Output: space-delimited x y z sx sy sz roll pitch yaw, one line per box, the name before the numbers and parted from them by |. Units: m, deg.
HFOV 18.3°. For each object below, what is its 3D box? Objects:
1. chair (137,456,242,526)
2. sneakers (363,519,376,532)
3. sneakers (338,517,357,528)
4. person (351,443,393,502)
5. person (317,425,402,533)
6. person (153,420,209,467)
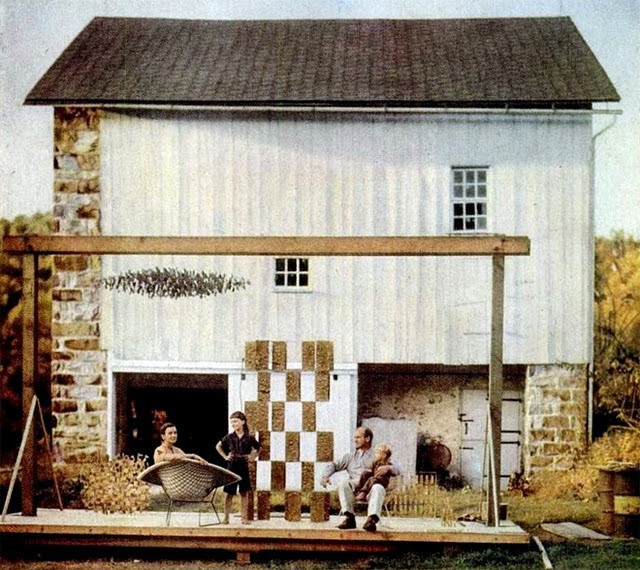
chair | -1.688 2.617 25.519 1.256 0.851 0.913 -1 -3 -6
sneakers | 0.613 3.017 25.239 0.156 0.197 0.113 4 -8 1
sneakers | 0.338 3.001 25.364 0.234 0.209 0.107 3 -5 4
person | 0.685 2.368 25.673 0.390 0.823 0.438 9 -7 40
person | 0.482 2.493 25.656 0.881 1.598 0.900 1 -25 7
person | -1.922 2.049 25.717 0.680 0.662 0.488 -7 -8 34
